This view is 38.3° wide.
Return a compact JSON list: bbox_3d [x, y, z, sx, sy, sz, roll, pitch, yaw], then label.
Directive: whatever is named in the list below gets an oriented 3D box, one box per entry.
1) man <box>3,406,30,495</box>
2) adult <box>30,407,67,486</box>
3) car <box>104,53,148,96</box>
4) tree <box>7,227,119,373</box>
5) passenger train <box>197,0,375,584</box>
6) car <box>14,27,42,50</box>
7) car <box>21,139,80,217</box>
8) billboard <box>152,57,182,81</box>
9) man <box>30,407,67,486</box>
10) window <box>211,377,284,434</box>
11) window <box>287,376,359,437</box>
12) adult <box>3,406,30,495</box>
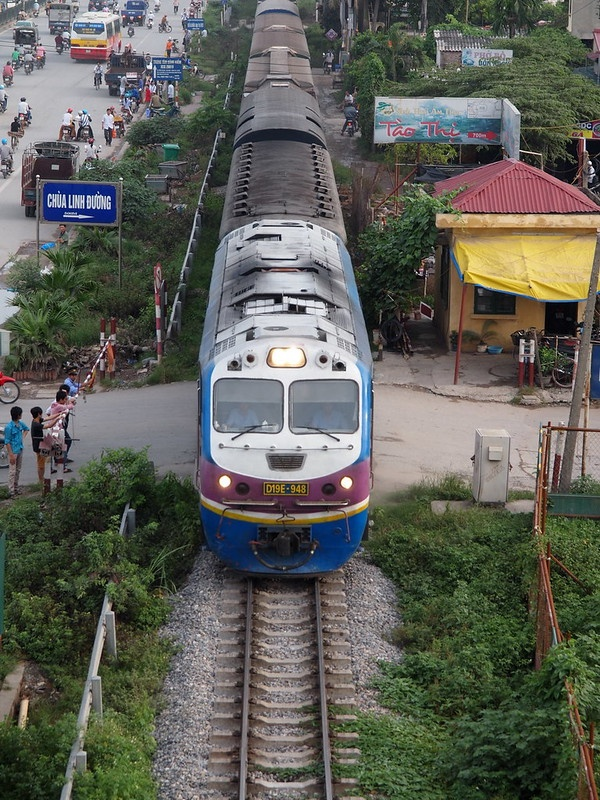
[{"bbox_3d":[-4.430,0.694,13.523,0.342,1.362,1.163,-5,12,-18],"label":"man"},{"bbox_3d":[-3.901,0.733,13.464,0.536,1.228,0.390,-11,52,-14],"label":"adult"},{"bbox_3d":[-9.862,-18.389,48.823,2.156,2.459,1.546,-3,12,-8],"label":"car"},{"bbox_3d":[-6.227,-2.605,21.957,2.262,1.663,5.512,0,21,-2],"label":"tree"},{"bbox_3d":[-0.302,-3.491,16.133,1.990,2.896,15.731,-1,34,1],"label":"passenger train"},{"bbox_3d":[-18.234,-24.205,57.878,1.415,1.272,2.198,0,25,-4],"label":"car"},{"bbox_3d":[-8.449,-7.767,30.430,3.172,1.731,1.622,31,24,30],"label":"car"},{"bbox_3d":[-6.780,-16.845,44.001,1.518,1.072,0.197,5,28,17],"label":"billboard"},{"bbox_3d":[-3.901,0.733,13.464,0.536,1.228,0.390,-11,52,-14],"label":"man"},{"bbox_3d":[-0.616,0.075,10.143,0.849,0.644,0.086,1,5,9],"label":"window"},{"bbox_3d":[0.233,0.081,10.134,1.073,0.784,0.094,1,0,-35],"label":"window"},{"bbox_3d":[-4.414,0.703,13.477,0.342,1.362,1.063,-5,12,-18],"label":"adult"}]
